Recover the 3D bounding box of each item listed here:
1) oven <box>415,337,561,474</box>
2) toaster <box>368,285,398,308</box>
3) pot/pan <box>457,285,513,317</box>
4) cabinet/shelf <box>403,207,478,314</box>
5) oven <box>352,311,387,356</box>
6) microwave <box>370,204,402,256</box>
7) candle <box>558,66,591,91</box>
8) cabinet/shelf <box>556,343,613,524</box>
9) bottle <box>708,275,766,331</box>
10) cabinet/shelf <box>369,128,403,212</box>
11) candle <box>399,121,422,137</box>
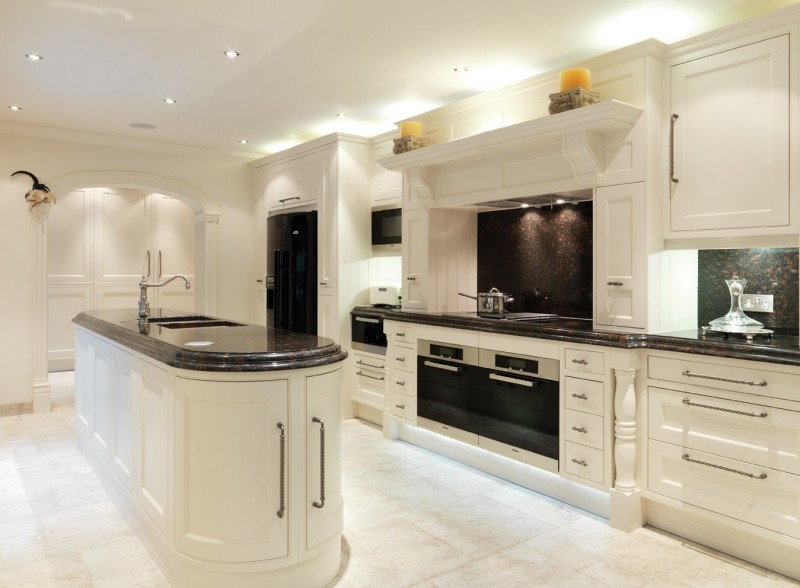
[{"bbox_3d":[0.847,0.770,4.668,1.359,0.849,0.842,6,12,37],"label":"oven"},{"bbox_3d":[-0.164,0.020,5.748,0.078,0.238,0.443,-7,11,-40],"label":"toaster"},{"bbox_3d":[0.741,0.078,4.898,0.401,0.171,0.226,-1,-4,40],"label":"pot/pan"},{"bbox_3d":[0.377,-0.307,5.225,0.696,0.926,0.446,0,9,1],"label":"cabinet/shelf"},{"bbox_3d":[-0.213,0.394,5.713,0.516,0.434,0.282,3,7,40],"label":"oven"},{"bbox_3d":[-0.040,-0.671,5.927,0.421,0.401,0.301,0,9,23],"label":"microwave"},{"bbox_3d":[1.186,-1.422,3.878,0.180,0.130,0.181,0,2,29],"label":"candle"},{"bbox_3d":[1.404,0.859,3.956,0.511,0.966,0.532,2,4,34],"label":"cabinet/shelf"},{"bbox_3d":[2.146,0.043,3.662,0.342,0.365,0.331,2,3,36],"label":"bottle"},{"bbox_3d":[-0.139,-1.244,5.772,0.147,0.751,0.586,-4,9,-27],"label":"cabinet/shelf"},{"bbox_3d":[0.098,-1.453,5.022,0.171,0.104,0.170,1,-1,-39],"label":"candle"}]
